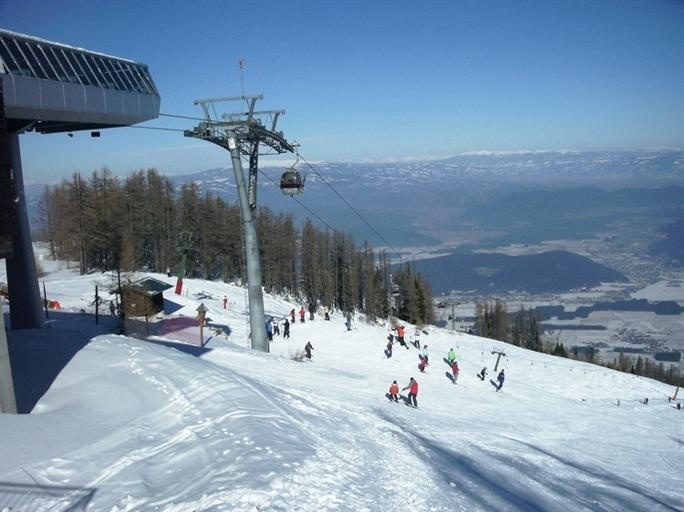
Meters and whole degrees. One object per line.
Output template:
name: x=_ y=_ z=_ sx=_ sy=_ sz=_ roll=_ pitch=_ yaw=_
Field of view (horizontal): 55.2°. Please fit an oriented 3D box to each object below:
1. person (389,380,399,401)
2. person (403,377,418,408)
person: x=2.907 y=7.446 z=36.162 sx=0.476 sy=0.983 sz=0.907 roll=11 pitch=4 yaw=8
person: x=3.943 y=7.499 z=36.488 sx=0.828 sy=1.372 sz=1.829 roll=11 pitch=4 yaw=9
